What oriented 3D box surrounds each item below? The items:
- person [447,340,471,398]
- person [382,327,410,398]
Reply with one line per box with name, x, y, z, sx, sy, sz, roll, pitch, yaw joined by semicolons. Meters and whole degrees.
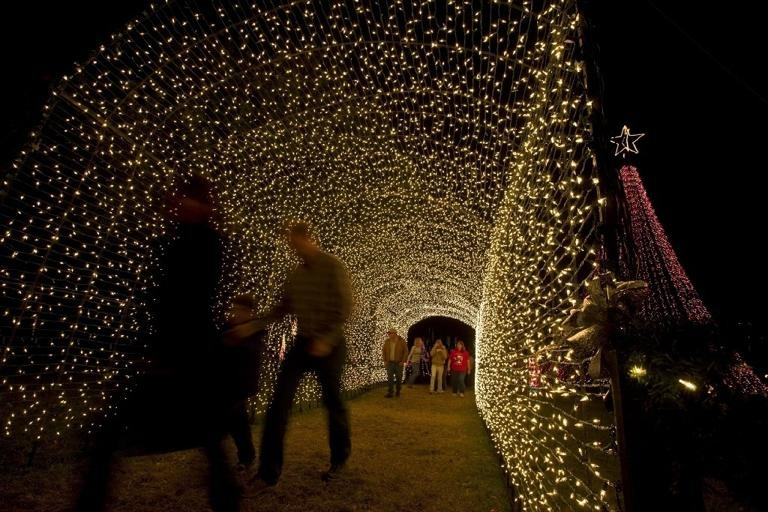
person;2.400;3.521;16.220;0.585;1.545;2.133;1;-1;8
person;0.305;3.033;14.336;0.674;2.006;1.172;1;-1;1
